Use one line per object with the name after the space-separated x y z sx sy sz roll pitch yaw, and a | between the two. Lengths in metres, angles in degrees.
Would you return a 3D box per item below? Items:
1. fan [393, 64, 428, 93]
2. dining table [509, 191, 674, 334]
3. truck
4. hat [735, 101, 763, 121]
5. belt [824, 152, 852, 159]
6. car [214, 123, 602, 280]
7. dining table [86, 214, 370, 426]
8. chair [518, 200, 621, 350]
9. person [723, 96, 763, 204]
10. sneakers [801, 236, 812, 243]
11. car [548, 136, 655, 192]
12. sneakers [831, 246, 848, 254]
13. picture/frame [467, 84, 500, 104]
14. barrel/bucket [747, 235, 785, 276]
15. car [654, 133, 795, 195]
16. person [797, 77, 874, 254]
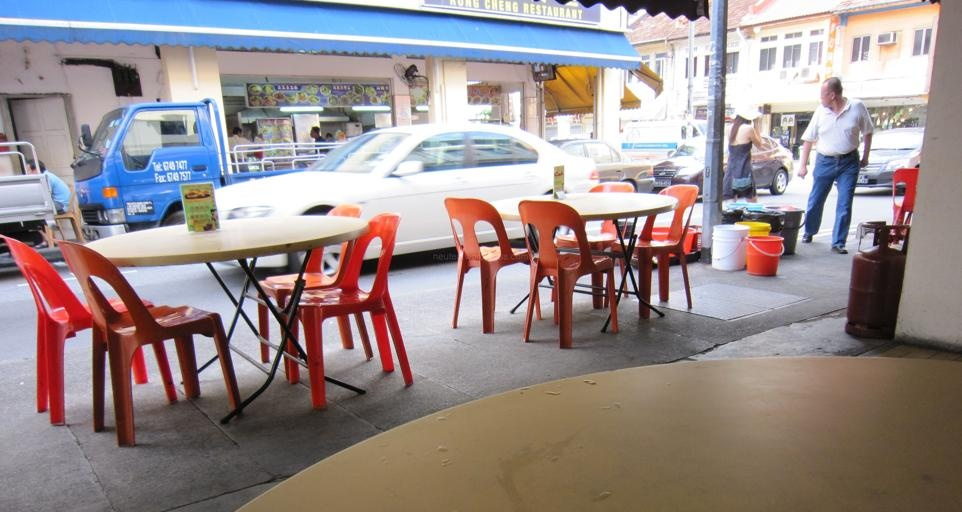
-1.831 -4.741 16.204 0.903 0.612 0.700 9 -27 6 | fan
1.720 0.083 7.958 2.072 1.238 1.994 -14 19 -38 | dining table
-5.368 -1.586 11.623 6.017 2.278 2.548 -8 9 -42 | truck
4.862 -2.602 11.128 0.375 0.264 0.763 3 13 21 | hat
5.667 -1.593 9.561 0.445 0.140 0.118 0 15 9 | belt
-1.078 -0.966 9.997 5.758 1.516 2.474 -3 7 -30 | car
-2.327 0.840 6.691 2.641 1.516 2.717 -11 17 -36 | dining table
1.075 0.127 7.333 1.173 1.671 1.259 2 15 17 | chair
4.759 -1.836 11.086 0.549 1.782 0.908 3 17 22 | person
5.502 -0.266 10.296 0.178 0.098 0.087 8 -3 -32 | sneakers
2.835 -2.068 13.577 2.974 0.780 1.140 4 6 -16 | car
5.700 -0.093 9.722 0.104 0.104 0.262 -17 10 -28 | sneakers
0.045 -4.874 18.286 1.206 0.457 0.628 -8 15 -35 | picture/frame
4.008 -0.001 8.900 0.679 0.481 0.570 -2 3 -12 | barrel/bucket
6.785 -2.352 16.137 5.410 1.651 2.115 -4 7 -27 | car
5.662 -1.476 9.809 0.944 2.743 1.141 7 19 31 | person
